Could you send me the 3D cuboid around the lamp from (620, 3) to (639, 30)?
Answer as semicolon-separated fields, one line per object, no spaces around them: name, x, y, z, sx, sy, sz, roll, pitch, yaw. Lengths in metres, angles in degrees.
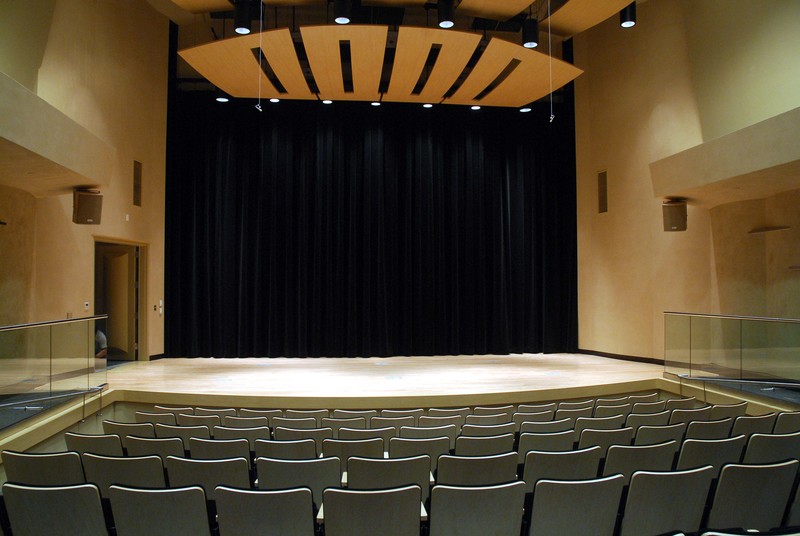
lamp;3.914;-4.341;9.493;0.237;0.461;0.392;-2;2;19

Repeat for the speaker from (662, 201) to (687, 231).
speaker;4.800;-0.907;9.617;0.449;0.681;0.352;-1;3;15

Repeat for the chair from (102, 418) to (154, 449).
chair;-3.259;1.921;6.690;0.346;0.544;0.353;3;-2;7

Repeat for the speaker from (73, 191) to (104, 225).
speaker;-4.945;-0.916;8.801;0.451;0.690;0.462;5;0;-36
